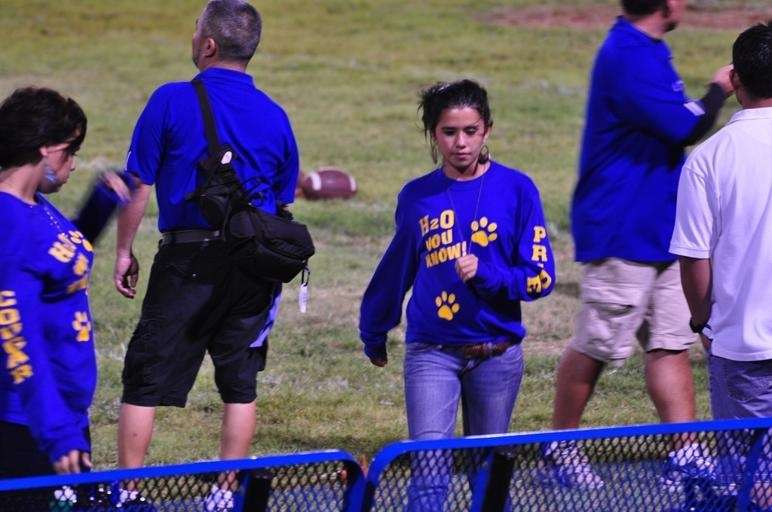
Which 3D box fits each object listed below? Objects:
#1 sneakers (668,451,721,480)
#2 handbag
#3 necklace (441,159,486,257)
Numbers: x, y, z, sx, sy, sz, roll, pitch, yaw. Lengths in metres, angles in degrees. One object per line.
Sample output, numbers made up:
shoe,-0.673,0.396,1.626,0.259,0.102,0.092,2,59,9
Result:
sneakers,2.082,1.414,11.361,0.399,0.158,0.162,-1,-3,-6
handbag,-0.909,-0.026,12.714,0.652,0.473,0.709,7,-7,-12
necklace,0.574,-0.347,12.201,0.293,0.659,0.248,4,14,-5
